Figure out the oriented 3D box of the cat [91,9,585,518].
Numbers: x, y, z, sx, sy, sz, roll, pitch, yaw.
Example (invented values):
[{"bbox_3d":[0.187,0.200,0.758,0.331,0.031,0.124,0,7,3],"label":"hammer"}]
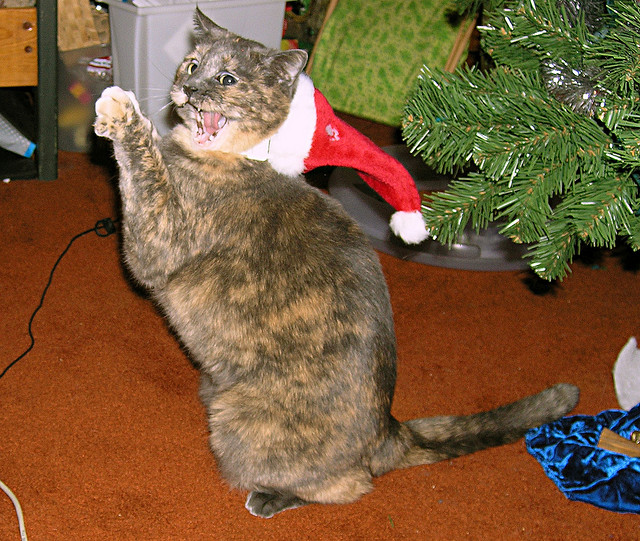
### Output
[{"bbox_3d":[-0.009,0.087,2.532,1.945,1.637,0.968,20,26,17],"label":"cat"}]
